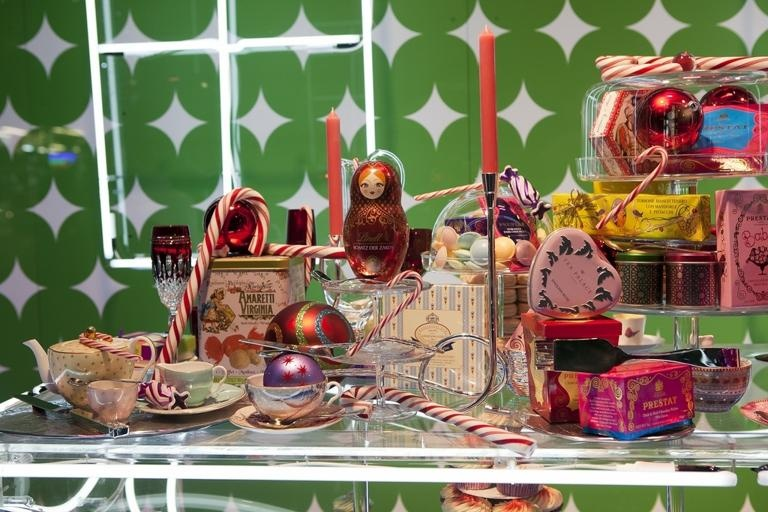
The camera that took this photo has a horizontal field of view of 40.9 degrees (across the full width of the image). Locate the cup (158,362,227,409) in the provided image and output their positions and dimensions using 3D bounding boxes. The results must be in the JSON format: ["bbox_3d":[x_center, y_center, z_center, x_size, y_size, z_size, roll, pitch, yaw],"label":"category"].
[{"bbox_3d":[-0.481,0.332,2.602,0.146,0.080,0.094,6,-10,-16],"label":"cup"}]

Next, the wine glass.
[{"bbox_3d":[-0.582,0.047,2.840,0.105,0.294,0.241,1,-6,-12],"label":"wine glass"}]

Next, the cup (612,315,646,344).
[{"bbox_3d":[0.713,0.220,3.023,0.091,0.106,0.103,3,-5,-2],"label":"cup"}]

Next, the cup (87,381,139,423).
[{"bbox_3d":[-0.651,0.357,2.506,0.099,0.091,0.107,2,2,0],"label":"cup"}]
